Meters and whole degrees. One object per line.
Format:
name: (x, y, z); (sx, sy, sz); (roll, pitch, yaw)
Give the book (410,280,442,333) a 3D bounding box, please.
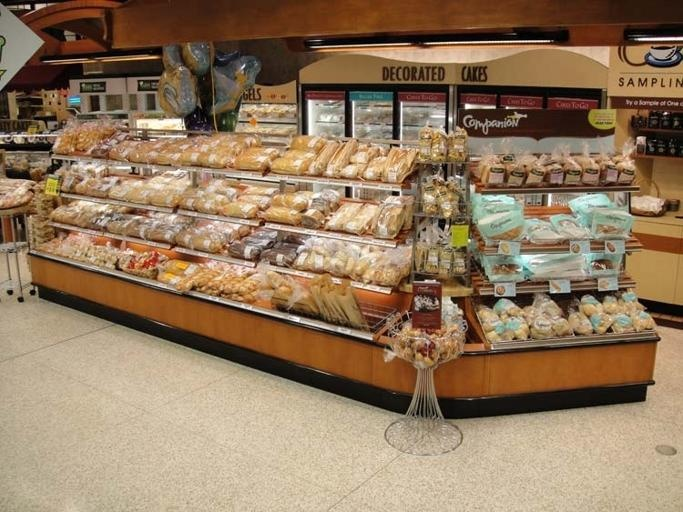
book: (0.665, 0.397, 3.617); (0.215, 0.431, 0.096); (-1, 19, 5)
